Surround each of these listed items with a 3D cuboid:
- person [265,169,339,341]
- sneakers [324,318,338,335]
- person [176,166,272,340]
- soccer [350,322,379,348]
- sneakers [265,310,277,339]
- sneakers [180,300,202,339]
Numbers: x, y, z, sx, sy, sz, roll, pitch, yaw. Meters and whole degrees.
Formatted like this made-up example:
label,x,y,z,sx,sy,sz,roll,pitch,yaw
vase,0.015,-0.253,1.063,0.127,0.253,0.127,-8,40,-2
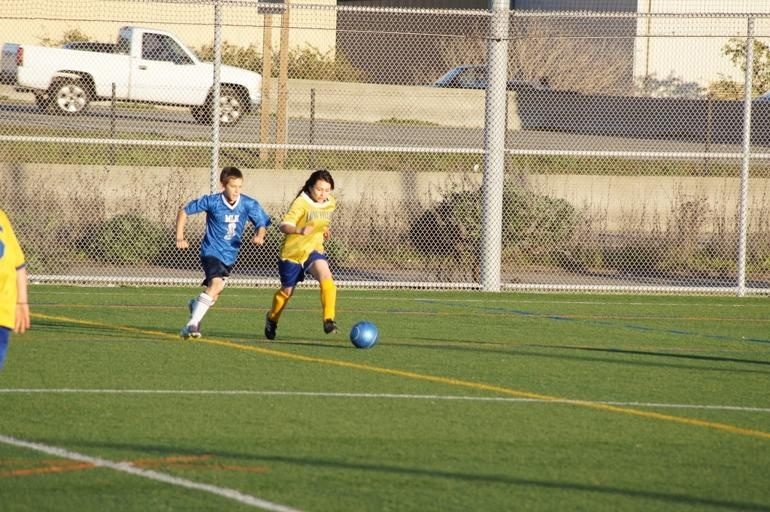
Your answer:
label,x,y,z,sx,sy,sz,roll,pitch,yaw
person,-1.020,0.013,13.279,0.836,2.135,0.977,1,8,-5
sneakers,-0.662,0.844,13.039,0.140,0.073,0.181,4,32,-8
person,-1.999,-0.049,13.312,1.142,2.070,0.925,-1,9,-18
soccer,-0.247,0.961,12.956,0.301,0.318,0.236,1,8,-7
sneakers,-1.391,0.882,13.466,0.125,0.365,0.154,-8,20,-35
sneakers,-2.364,0.842,13.209,0.198,0.267,0.616,1,0,-10
